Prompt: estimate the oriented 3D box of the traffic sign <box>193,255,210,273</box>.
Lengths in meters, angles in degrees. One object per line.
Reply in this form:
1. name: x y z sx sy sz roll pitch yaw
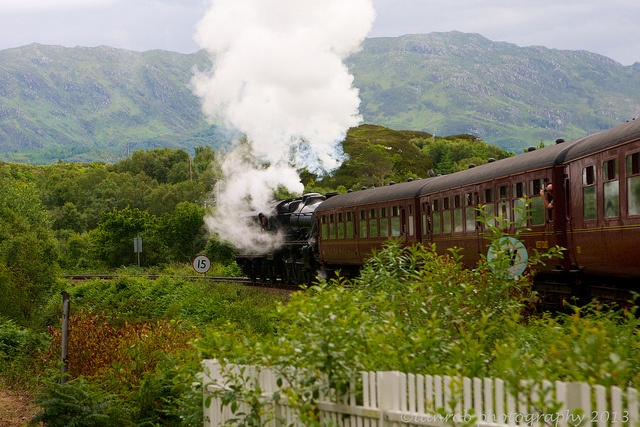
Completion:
1. traffic sign: -5.127 2.209 26.613 0.569 0.757 1.505 -1 -3 -7
